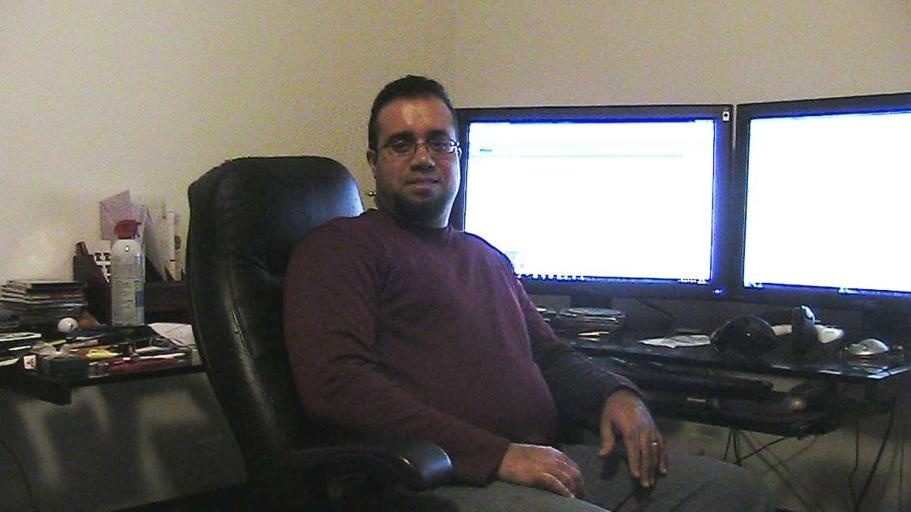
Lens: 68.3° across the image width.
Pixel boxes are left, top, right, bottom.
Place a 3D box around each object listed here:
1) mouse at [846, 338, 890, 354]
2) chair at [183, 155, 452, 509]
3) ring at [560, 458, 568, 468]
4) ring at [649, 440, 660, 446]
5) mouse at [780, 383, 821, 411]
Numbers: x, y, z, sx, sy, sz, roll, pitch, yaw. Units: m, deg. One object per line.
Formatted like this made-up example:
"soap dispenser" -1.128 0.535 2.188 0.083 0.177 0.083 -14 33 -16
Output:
"mouse" 1.328 0.296 2.178 0.076 0.021 0.071 -6 4 -10
"chair" -0.431 0.193 2.047 0.616 1.091 0.813 -1 0 42
"ring" 0.306 0.581 1.885 0.017 0.006 0.018 9 9 -1
"ring" 0.600 0.565 2.024 0.021 0.004 0.022 0 2 0
"mouse" 1.091 0.442 2.109 0.073 0.024 0.112 -1 7 39
